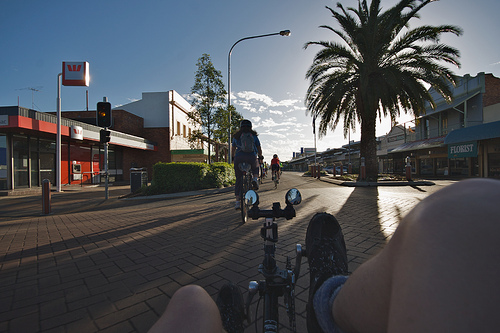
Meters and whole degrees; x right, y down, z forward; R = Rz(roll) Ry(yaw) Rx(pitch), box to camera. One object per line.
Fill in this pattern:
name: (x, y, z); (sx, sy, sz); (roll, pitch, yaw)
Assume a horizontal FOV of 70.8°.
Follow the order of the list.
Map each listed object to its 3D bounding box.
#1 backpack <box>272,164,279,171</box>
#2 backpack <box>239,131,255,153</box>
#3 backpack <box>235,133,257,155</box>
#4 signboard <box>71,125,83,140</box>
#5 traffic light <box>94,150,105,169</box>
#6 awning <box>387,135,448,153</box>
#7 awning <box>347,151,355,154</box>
backpack: (1.532, 0.073, 21.053); (0.303, 0.447, 0.535); (11, -4, -44)
backpack: (-0.114, -0.775, 11.318); (0.572, 0.874, 0.426); (-5, -1, -6)
backpack: (-0.120, -0.701, 11.269); (0.392, 0.604, 0.572); (0, 14, 2)
signboard: (-11.882, -2.308, 24.016); (0.314, 0.891, 0.896); (-2, -3, 9)
traffic light: (-12.326, -0.584, 28.554); (0.716, 1.464, 1.393); (-1, 1, -3)
awning: (15.332, -1.934, 31.372); (1.343, 1.446, 8.132); (-3, -1, -3)
awning: (13.541, -1.875, 46.661); (0.896, 0.429, 2.822); (-4, -1, 15)
